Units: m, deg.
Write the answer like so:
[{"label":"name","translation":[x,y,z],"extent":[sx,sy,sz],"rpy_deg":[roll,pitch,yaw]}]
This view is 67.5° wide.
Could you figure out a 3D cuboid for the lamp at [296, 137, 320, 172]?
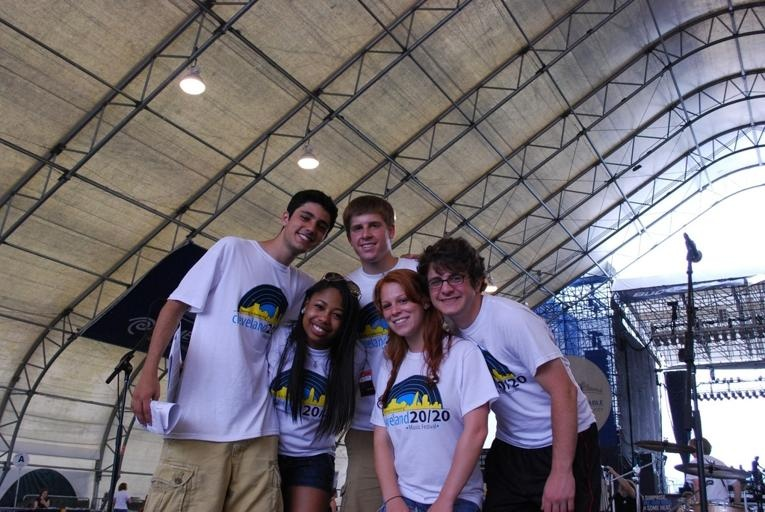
[{"label":"lamp","translation":[-1.703,-2.321,12.902],"extent":[0.659,0.767,0.735],"rpy_deg":[1,-30,-3]}]

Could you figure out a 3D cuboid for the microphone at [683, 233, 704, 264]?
[{"label":"microphone","translation":[3.460,-0.069,6.487],"extent":[0.205,0.384,0.113],"rpy_deg":[-36,11,-23]}]
